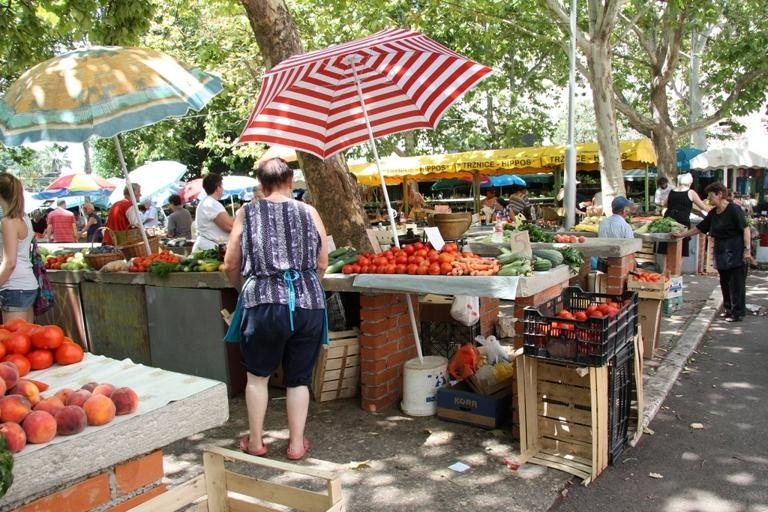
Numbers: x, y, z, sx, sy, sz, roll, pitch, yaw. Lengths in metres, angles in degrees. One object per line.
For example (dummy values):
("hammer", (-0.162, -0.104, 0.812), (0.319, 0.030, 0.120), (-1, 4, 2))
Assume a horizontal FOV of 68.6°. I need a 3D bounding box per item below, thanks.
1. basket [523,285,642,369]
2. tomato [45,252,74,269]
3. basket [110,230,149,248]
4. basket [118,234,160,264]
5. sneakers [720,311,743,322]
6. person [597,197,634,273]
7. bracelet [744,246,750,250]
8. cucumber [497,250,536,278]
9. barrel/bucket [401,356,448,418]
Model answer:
("basket", (1.917, 0.596, 5.304), (0.672, 0.368, 1.080), (6, 14, 37))
("tomato", (-4.944, 0.074, 8.585), (0.213, 0.078, 0.196), (-6, 46, -11))
("basket", (-3.829, -0.291, 8.348), (0.434, 0.300, 0.381), (-9, -1, 32))
("basket", (-3.460, -0.108, 8.002), (0.424, 0.163, 0.409), (-6, 4, 1))
("sneakers", (5.905, 1.038, 9.606), (0.114, 0.120, 0.296), (-10, 4, -36))
("person", (3.460, -0.467, 8.441), (0.463, 0.752, 2.131), (5, 14, 23))
("bracelet", (5.913, -0.129, 9.176), (0.047, 0.043, 0.045), (-3, 13, 9))
("cucumber", (1.285, 0.085, 5.526), (0.299, 0.235, 0.115), (11, -18, 24))
("barrel/bucket", (0.433, 1.379, 6.251), (0.586, 0.552, 0.615), (-1, 4, 0))
